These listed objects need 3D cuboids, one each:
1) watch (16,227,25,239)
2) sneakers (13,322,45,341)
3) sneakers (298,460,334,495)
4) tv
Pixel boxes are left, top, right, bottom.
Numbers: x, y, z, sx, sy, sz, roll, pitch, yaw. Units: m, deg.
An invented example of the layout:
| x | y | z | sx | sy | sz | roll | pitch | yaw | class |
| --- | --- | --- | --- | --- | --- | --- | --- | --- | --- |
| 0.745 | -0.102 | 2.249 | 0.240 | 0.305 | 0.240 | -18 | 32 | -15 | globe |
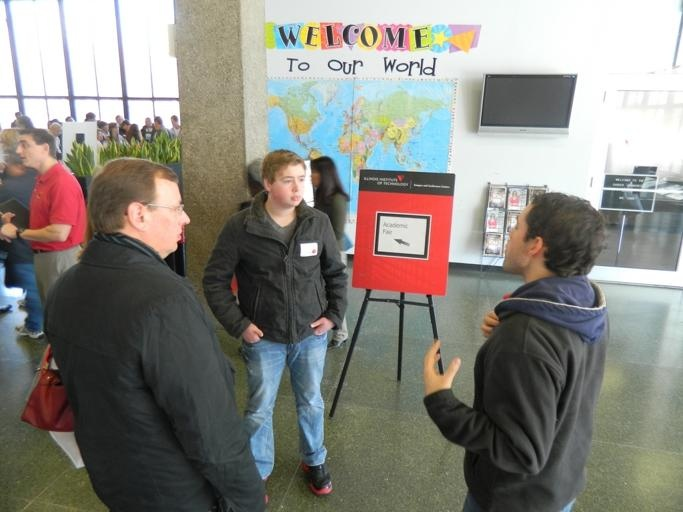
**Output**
| x | y | z | sx | sy | sz | roll | pitch | yaw | class |
| --- | --- | --- | --- | --- | --- | --- | --- | --- | --- |
| -2.638 | -0.195 | 4.109 | 0.061 | 0.085 | 0.096 | 3 | 53 | -24 | watch |
| -2.958 | 0.697 | 4.692 | 0.428 | 0.109 | 0.116 | 9 | 14 | 30 | sneakers |
| -0.132 | 1.382 | 3.090 | 0.109 | 0.103 | 0.223 | -2 | 13 | -18 | sneakers |
| 2.211 | -1.840 | 6.020 | 1.036 | 0.666 | 0.082 | 4 | 12 | 11 | tv |
